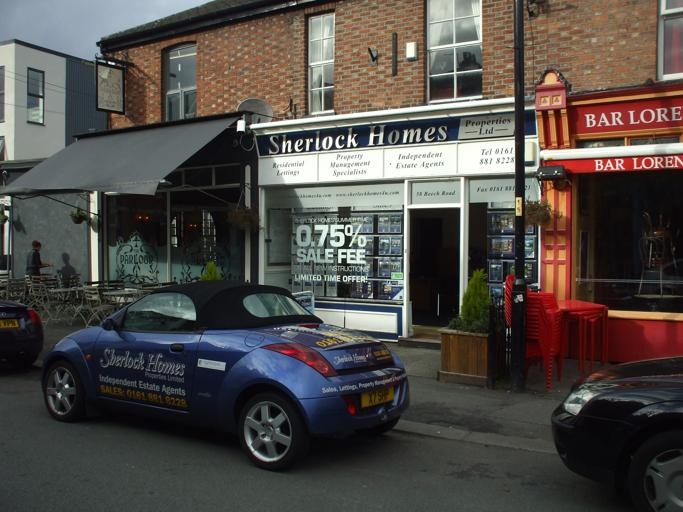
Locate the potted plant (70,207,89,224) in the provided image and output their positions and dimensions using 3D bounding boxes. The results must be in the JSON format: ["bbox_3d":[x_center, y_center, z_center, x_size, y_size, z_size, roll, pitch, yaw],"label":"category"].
[{"bbox_3d":[-7.822,-1.190,18.972,0.469,0.550,0.505,2,5,-9],"label":"potted plant"}]

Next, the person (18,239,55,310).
[{"bbox_3d":[-8.962,0.347,18.999,0.578,1.825,0.598,-4,29,-21],"label":"person"}]

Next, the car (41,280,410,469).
[{"bbox_3d":[-1.468,1.358,7.828,4.362,1.905,1.198,5,8,23],"label":"car"}]

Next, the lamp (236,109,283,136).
[{"bbox_3d":[-2.130,-3.178,15.148,0.666,0.495,0.456,-3,5,-19],"label":"lamp"}]

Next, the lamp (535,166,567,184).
[{"bbox_3d":[3.916,-1.517,11.882,0.549,0.337,0.336,4,8,20],"label":"lamp"}]
